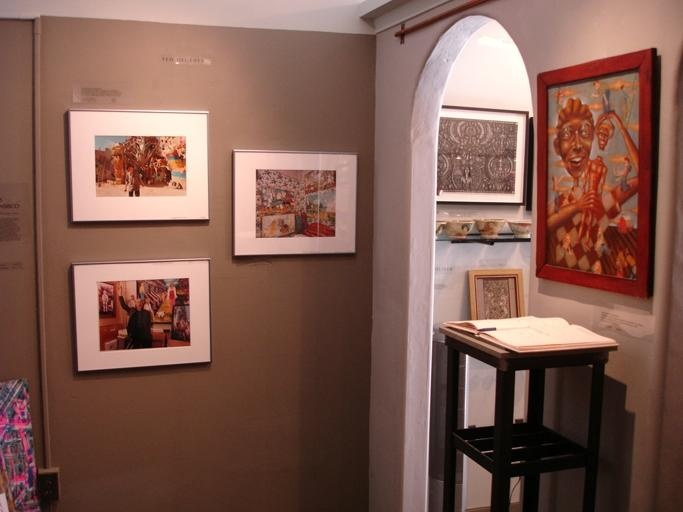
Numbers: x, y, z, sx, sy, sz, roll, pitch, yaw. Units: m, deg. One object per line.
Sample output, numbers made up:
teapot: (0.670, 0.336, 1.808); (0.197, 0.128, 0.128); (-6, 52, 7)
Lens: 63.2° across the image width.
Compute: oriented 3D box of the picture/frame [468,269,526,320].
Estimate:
picture/frame: (1.031, 0.284, 3.656); (0.341, 0.381, 0.027); (-2, -4, 0)

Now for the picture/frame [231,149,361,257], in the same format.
picture/frame: (-0.289, -0.318, 3.116); (0.555, 0.521, 0.021); (-1, 9, -15)

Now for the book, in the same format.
book: (0.664, 0.274, 1.974); (0.557, 0.077, 0.281); (-2, 5, 6)

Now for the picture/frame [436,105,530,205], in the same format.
picture/frame: (0.882, -0.669, 3.562); (0.604, 0.577, 0.024); (1, -1, -19)
